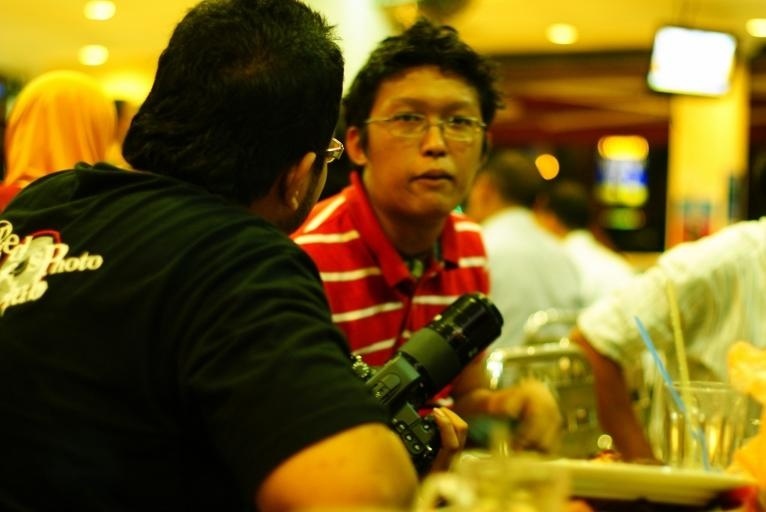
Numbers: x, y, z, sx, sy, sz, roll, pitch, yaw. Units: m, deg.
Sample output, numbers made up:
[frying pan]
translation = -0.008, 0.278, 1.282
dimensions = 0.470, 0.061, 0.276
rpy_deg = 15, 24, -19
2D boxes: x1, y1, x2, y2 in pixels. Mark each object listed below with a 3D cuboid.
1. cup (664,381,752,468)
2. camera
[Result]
[cup]
translation = 0.639, 0.343, 1.339
dimensions = 0.166, 0.170, 0.165
rpy_deg = 8, -13, 2
[camera]
translation = 0.080, 0.216, 1.327
dimensions = 0.405, 0.140, 0.228
rpy_deg = -34, -20, -30
